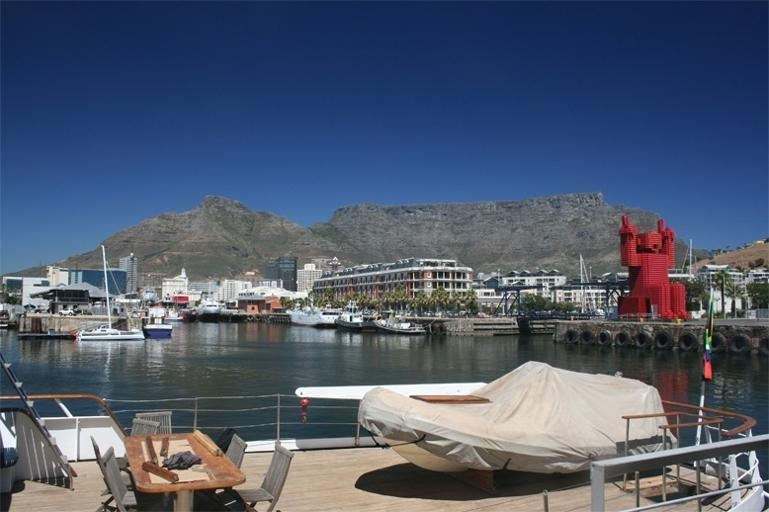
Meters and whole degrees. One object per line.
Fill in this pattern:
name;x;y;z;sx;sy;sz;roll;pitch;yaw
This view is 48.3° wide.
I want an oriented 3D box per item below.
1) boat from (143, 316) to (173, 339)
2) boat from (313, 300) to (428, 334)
boat;-28.630;9.004;107.107;3.305;2.040;6.067;1;-7;-21
boat;-2.262;10.055;142.074;26.007;6.725;5.333;-1;-3;44
